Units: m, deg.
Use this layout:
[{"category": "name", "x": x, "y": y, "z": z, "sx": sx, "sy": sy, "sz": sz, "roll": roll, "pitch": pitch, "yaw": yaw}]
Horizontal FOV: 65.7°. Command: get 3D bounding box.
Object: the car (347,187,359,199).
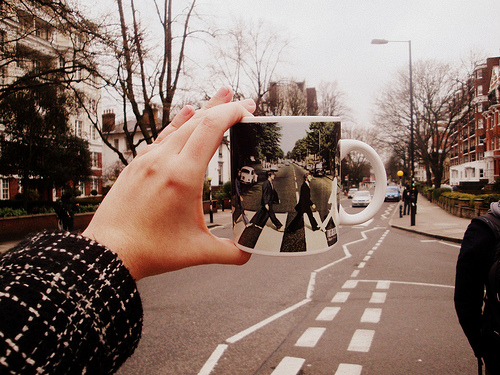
[{"category": "car", "x": 14.547, "y": 0.733, "z": 54.617, "sx": 1.271, "sy": 1.439, "sz": 2.619, "roll": -2, "pitch": -4, "yaw": 7}]
